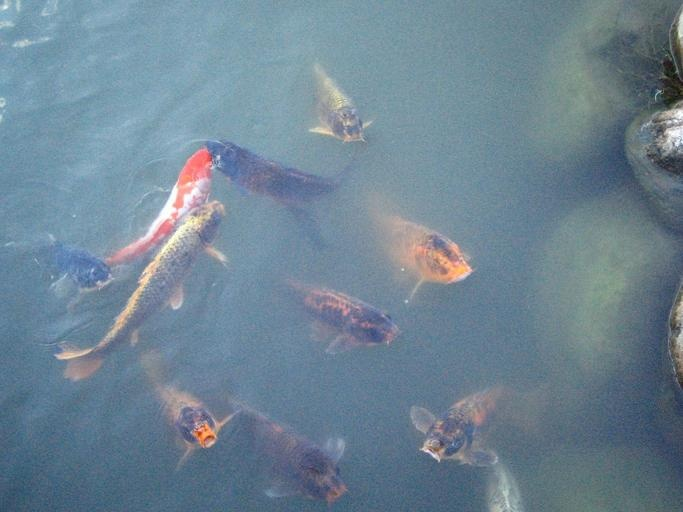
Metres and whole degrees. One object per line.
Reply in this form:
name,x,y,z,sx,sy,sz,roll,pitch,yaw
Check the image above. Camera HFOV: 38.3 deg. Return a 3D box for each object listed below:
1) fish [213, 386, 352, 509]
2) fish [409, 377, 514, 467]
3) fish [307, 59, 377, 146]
fish,-1.036,3.662,17.834,2.348,0.794,1.322,22,81,2
fish,2.205,3.045,17.832,1.087,0.604,1.703,30,50,25
fish,-0.190,-3.019,20.204,0.818,0.641,1.804,-23,54,-3
